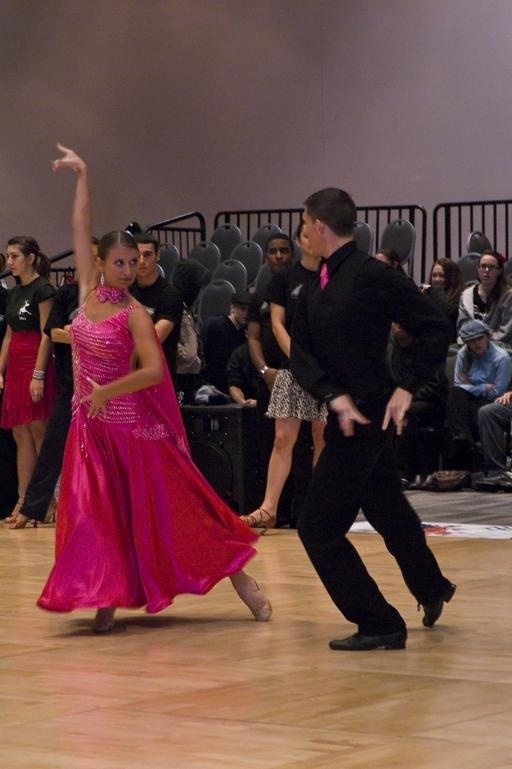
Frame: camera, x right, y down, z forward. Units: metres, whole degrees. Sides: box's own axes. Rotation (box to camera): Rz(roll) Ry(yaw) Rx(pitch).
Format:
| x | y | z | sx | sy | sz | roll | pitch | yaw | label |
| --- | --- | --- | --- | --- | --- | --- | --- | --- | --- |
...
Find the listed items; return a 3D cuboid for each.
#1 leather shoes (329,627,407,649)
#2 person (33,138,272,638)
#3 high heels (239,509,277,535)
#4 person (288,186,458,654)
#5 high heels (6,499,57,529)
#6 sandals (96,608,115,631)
| x | y | z | sx | sy | sz | roll | pitch | yaw | label |
| --- | --- | --- | --- | --- | --- | --- | --- | --- | --- |
| 0.334 | 0.765 | 2.083 | 0.223 | 0.064 | 0.076 | 3 | -7 | -4 | leather shoes |
| -0.353 | 0.044 | 2.460 | 0.876 | 1.658 | 0.607 | 2 | 11 | -2 | person |
| 0.028 | 0.931 | 4.701 | 0.226 | 0.145 | 0.500 | -2 | -15 | 12 | high heels |
| 0.375 | 0.115 | 2.141 | 0.552 | 1.384 | 0.497 | -2 | 4 | -1 | person |
| -1.748 | 0.996 | 5.258 | 0.178 | 0.174 | 0.506 | -7 | -9 | 42 | high heels |
| -0.528 | 0.824 | 2.410 | 0.040 | 0.067 | 0.106 | 2 | -30 | -9 | sandals |
